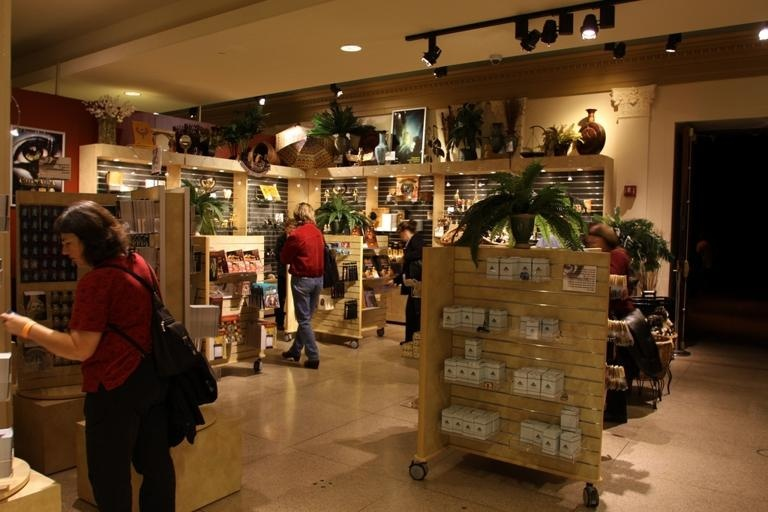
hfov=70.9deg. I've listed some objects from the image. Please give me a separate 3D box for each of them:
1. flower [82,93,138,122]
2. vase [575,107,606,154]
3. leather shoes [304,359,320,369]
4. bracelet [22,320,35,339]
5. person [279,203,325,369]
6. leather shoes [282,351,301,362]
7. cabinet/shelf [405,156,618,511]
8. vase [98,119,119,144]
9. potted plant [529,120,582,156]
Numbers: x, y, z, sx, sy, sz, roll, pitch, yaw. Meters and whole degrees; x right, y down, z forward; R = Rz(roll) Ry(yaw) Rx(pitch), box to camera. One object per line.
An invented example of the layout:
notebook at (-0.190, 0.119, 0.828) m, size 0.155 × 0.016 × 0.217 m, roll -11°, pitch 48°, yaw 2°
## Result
flower at (-4.166, -2.227, 8.144) m, size 0.679 × 0.381 × 0.524 m, roll -1°, pitch 9°, yaw -15°
vase at (3.470, -2.089, 9.024) m, size 0.452 × 0.764 × 0.561 m, roll 5°, pitch 9°, yaw 21°
leather shoes at (-1.059, 1.543, 7.814) m, size 0.108 × 0.188 × 0.197 m, roll -3°, pitch 9°, yaw -44°
bracelet at (-2.296, 0.479, 3.473) m, size 0.095 × 0.111 × 0.045 m, roll 3°, pitch -3°, yaw 43°
person at (-1.197, 0.434, 7.879) m, size 0.613 × 2.363 × 0.702 m, roll 0°, pitch 9°, yaw -7°
leather shoes at (-1.410, 1.494, 8.134) m, size 0.331 × 0.140 × 0.122 m, roll 14°, pitch 12°, yaw 36°
cabinet/shelf at (1.163, 0.626, 4.824) m, size 1.622 × 2.883 × 0.855 m, roll 5°, pitch 9°, yaw 21°
vase at (-4.152, -1.865, 8.097) m, size 0.228 × 0.368 × 0.332 m, roll -4°, pitch 10°, yaw -30°
potted plant at (3.019, -1.951, 9.056) m, size 0.566 × 0.541 × 0.770 m, roll 9°, pitch 12°, yaw 44°
